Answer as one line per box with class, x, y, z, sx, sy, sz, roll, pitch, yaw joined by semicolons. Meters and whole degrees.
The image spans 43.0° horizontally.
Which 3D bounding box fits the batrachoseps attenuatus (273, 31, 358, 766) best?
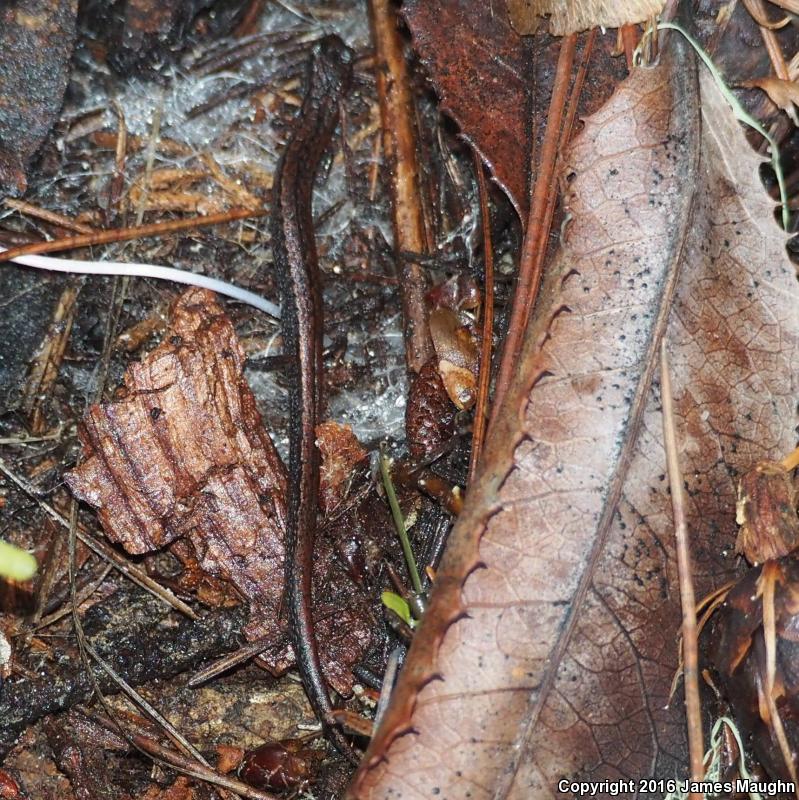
batrachoseps attenuatus;-0.293;-0.155;3.245;0.240;0.172;2.538;0;85;0
